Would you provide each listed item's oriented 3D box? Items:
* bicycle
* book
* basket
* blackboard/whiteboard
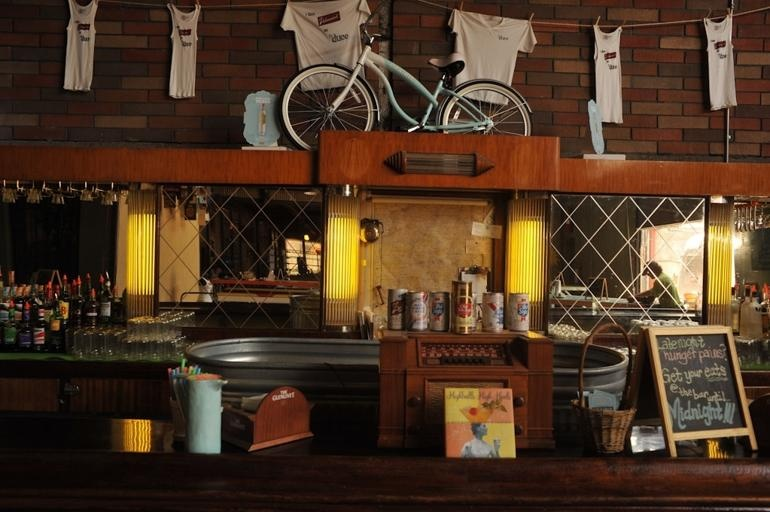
[{"bbox_3d":[0.155,-1.597,13.076,2.665,1.185,0.998,2,0,-6],"label":"bicycle"},{"bbox_3d":[0.679,1.270,10.573,0.609,0.543,0.072,-4,-7,29],"label":"book"},{"bbox_3d":[1.628,0.997,10.705,0.467,1.003,0.481,0,-6,8],"label":"basket"},{"bbox_3d":[2.310,0.981,10.685,0.866,0.995,0.546,-2,-10,-11],"label":"blackboard/whiteboard"}]
